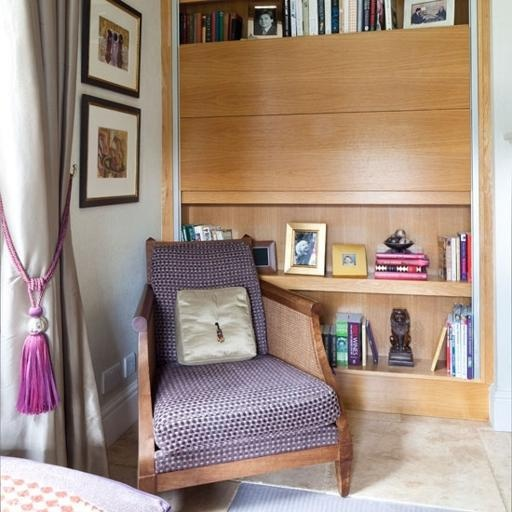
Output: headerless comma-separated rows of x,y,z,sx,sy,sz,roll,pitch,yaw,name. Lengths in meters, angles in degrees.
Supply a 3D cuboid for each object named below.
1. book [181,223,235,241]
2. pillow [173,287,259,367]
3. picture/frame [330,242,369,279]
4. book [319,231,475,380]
-0.293,-0.139,2.634,0.265,0.099,0.250,-1,4,-30,book
-0.182,0.290,2.011,0.330,0.327,0.131,1,-25,-10,pillow
0.528,0.029,2.532,0.207,0.214,0.015,1,-24,4,picture/frame
0.773,0.265,2.411,0.758,0.768,0.256,1,-1,22,book
